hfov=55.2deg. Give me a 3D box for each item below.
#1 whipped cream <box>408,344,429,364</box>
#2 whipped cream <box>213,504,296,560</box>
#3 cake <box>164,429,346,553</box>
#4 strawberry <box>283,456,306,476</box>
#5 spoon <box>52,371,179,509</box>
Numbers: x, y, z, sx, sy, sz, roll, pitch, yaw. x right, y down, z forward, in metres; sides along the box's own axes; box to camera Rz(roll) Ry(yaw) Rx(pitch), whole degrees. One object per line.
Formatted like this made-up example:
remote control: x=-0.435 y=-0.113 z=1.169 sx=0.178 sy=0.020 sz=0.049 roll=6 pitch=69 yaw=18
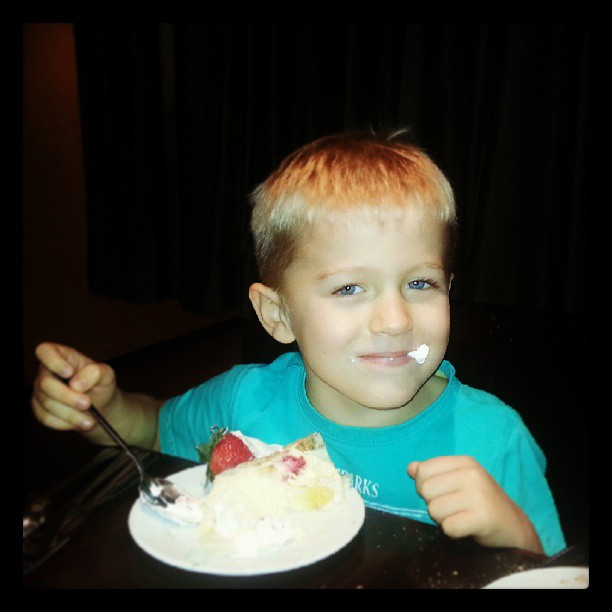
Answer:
whipped cream: x=0.181 y=0.078 z=0.933 sx=0.030 sy=0.032 sz=0.013 roll=-3 pitch=10 yaw=-20
whipped cream: x=-0.067 y=0.293 z=0.751 sx=0.067 sy=0.037 sz=0.048 roll=2 pitch=-4 yaw=-17
cake: x=-0.061 y=0.261 z=0.853 sx=0.229 sy=0.084 sz=0.234 roll=-2 pitch=19 yaw=-39
strawberry: x=-0.016 y=0.247 z=0.906 sx=0.018 sy=0.009 sz=0.023 roll=-13 pitch=31 yaw=-26
spoon: x=-0.334 y=0.234 z=1.007 sx=0.213 sy=0.031 sz=0.038 roll=47 pitch=34 yaw=7
